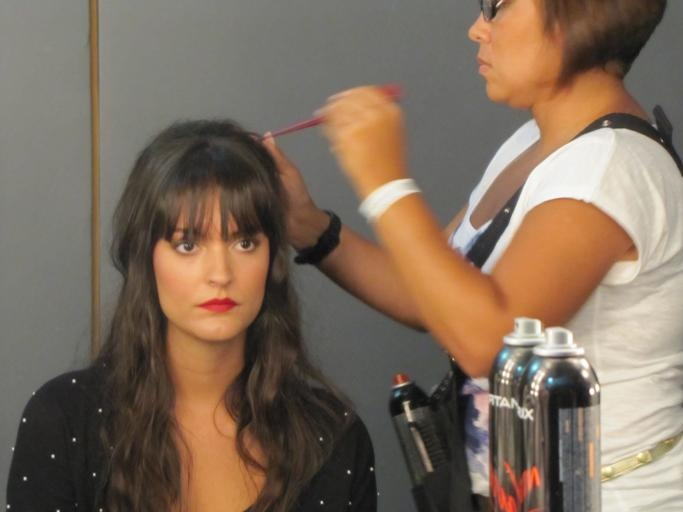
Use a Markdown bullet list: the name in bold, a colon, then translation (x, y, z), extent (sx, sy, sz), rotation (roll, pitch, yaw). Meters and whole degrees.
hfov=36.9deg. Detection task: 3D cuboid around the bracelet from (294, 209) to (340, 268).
- **bracelet**: translation (-0.030, -0.024, 2.246), extent (0.120, 0.047, 0.091), rotation (-56, 18, -22)
